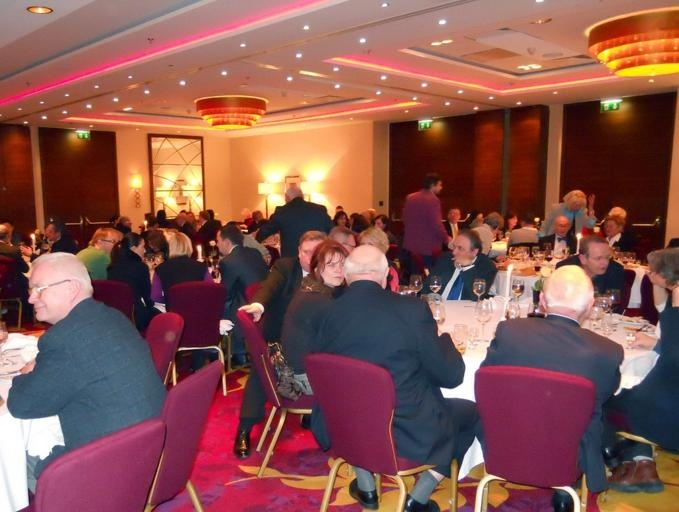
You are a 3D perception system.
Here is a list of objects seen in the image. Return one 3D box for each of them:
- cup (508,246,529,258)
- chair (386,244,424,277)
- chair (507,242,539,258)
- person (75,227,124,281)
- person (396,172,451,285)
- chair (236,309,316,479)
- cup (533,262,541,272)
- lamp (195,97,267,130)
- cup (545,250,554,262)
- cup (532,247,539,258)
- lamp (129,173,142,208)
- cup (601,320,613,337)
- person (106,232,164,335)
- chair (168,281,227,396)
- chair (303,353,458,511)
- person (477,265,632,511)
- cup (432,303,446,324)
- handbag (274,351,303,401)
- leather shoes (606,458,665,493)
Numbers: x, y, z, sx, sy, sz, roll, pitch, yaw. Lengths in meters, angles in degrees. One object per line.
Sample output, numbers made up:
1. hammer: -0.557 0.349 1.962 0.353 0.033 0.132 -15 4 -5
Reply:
1. cup: 2.072 -0.037 6.513 0.169 0.111 0.165 -1 1 0
2. chair: 0.781 0.038 6.629 0.309 0.497 0.301 -8 20 -20
3. chair: 2.130 -0.065 6.573 0.275 0.189 0.256 0 3 14
4. person: -2.423 0.074 5.781 0.435 0.772 0.357 -4 36 -27
5. person: 1.223 -0.188 7.987 0.588 1.885 0.728 -12 21 -41
6. chair: -0.279 0.868 3.538 0.543 0.841 0.467 -2 -4 -12
7. cup: 1.946 0.110 5.542 0.081 0.058 0.078 -1 4 0
8. lamp: -1.842 -2.528 9.936 0.761 0.265 0.748 -4 5 -33
9. cup: 2.277 0.006 6.158 0.099 0.152 0.097 1 0 0
10. cup: 2.112 -0.034 6.085 0.072 0.142 0.277 2 7 17
11. lamp: -5.021 -1.588 13.946 0.305 0.813 0.204 -3 8 -19
12. cup: 1.622 0.439 3.428 0.073 0.111 0.069 -5 3 0
13. person: -1.834 0.174 5.118 0.483 0.915 0.359 -17 49 -37
14. chair: -1.180 0.737 4.609 0.529 0.976 0.607 -2 -10 -15
15. chair: 0.142 0.873 2.734 0.589 0.868 0.339 0 8 9
16. person: 1.101 0.667 2.892 0.692 1.200 0.645 11 19 38
17. cup: 0.558 0.346 3.338 0.105 0.138 0.108 -1 -4 0
18. handbag: -0.330 0.725 3.418 0.191 0.245 0.092 -9 -25 -37
19. leather shoes: 1.750 1.290 3.419 0.320 0.201 0.207 3 -12 7
